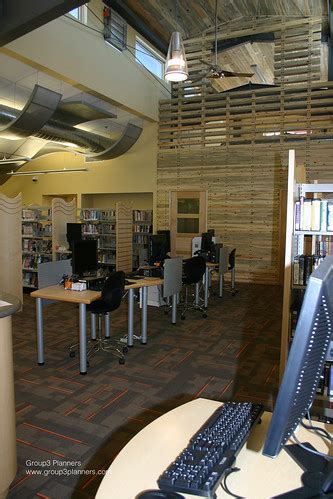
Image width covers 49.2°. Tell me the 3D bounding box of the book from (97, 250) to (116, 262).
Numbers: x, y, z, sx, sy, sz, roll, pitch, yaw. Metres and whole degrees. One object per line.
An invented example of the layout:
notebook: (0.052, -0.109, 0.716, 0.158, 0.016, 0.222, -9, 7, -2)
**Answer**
book: (-1.594, 0.206, 9.944, 0.355, 0.159, 0.485, 3, 8, 8)

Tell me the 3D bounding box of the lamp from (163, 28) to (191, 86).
lamp: (0.122, -2.385, 4.413, 0.278, 0.604, 0.436, 0, 3, 0)

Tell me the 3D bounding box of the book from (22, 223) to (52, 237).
book: (-3.054, -0.468, 8.465, 0.550, 0.337, 1.108, -2, 4, -28)

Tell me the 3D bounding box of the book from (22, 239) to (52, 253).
book: (-3.020, -0.093, 8.455, 0.976, 0.306, 0.398, 4, 5, 42)

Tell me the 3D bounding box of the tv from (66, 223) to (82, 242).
tv: (-2.011, -0.366, 7.787, 0.109, 0.448, 0.489, 2, 1, 20)

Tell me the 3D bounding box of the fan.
fan: (1.495, -4.764, 9.825, 2.035, 0.490, 2.165, -3, 15, -5)

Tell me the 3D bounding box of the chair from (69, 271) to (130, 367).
chair: (-0.753, 0.767, 4.234, 0.645, 0.978, 0.619, 0, 0, 30)

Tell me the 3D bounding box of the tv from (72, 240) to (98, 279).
tv: (-1.037, 0.117, 4.590, 0.172, 0.480, 0.481, 1, -2, 25)

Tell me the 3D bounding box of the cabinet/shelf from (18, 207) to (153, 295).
cabinet/shelf: (-2.415, -0.356, 9.323, 3.093, 2.471, 2.280, 0, 0, 20)

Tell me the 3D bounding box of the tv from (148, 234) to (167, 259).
tv: (-0.154, -0.036, 5.962, 0.148, 0.413, 0.414, 1, 4, 25)

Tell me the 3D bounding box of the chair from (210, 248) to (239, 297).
chair: (1.279, 0.469, 8.306, 0.682, 1.132, 0.709, 2, 6, 9)

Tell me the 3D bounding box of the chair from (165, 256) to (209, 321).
chair: (0.297, 0.616, 6.298, 0.603, 1.018, 0.628, -8, 6, 16)

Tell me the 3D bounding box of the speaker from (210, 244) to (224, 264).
speaker: (1.006, 0.098, 7.257, 0.118, 0.365, 0.365, 3, 6, 16)

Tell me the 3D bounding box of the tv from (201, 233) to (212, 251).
tv: (0.861, -0.158, 7.759, 0.096, 0.264, 0.371, 2, 6, 22)

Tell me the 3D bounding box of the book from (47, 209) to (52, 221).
book: (-2.765, -0.826, 8.514, 0.092, 0.266, 0.517, -1, 4, -16)

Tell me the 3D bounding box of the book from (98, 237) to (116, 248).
book: (-1.556, -0.192, 9.575, 0.372, 0.155, 0.372, 1, 4, 8)

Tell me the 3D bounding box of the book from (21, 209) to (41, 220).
book: (-3.174, -0.813, 8.673, 0.511, 0.295, 0.342, 0, -9, 11)

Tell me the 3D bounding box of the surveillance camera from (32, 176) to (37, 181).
surveillance camera: (-4.737, -2.529, 12.995, 0.154, 0.155, 0.081, 11, -3, 26)

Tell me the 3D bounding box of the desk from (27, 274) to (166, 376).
desk: (-0.855, 0.837, 4.361, 0.849, 0.826, 1.411, 2, 4, 28)
